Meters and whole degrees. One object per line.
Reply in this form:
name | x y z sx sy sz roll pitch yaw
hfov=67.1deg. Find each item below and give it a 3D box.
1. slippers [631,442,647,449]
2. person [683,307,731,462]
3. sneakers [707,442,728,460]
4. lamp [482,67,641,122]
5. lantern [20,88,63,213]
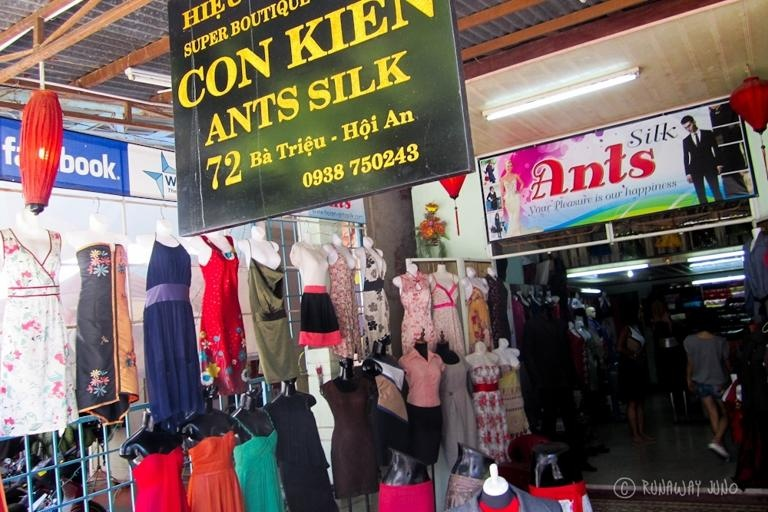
slippers | 3.528 2.587 7.962 0.200 0.052 0.356 -10 -7 21
person | 4.189 1.680 7.379 0.523 1.160 0.609 -10 -8 26
sneakers | 4.097 2.376 7.107 0.129 0.294 0.106 -49 14 -4
lamp | 2.077 -1.832 6.480 1.985 0.146 0.320 -11 -47 31
lantern | -2.444 -0.777 4.146 0.273 0.923 0.239 -3 -8 -26
